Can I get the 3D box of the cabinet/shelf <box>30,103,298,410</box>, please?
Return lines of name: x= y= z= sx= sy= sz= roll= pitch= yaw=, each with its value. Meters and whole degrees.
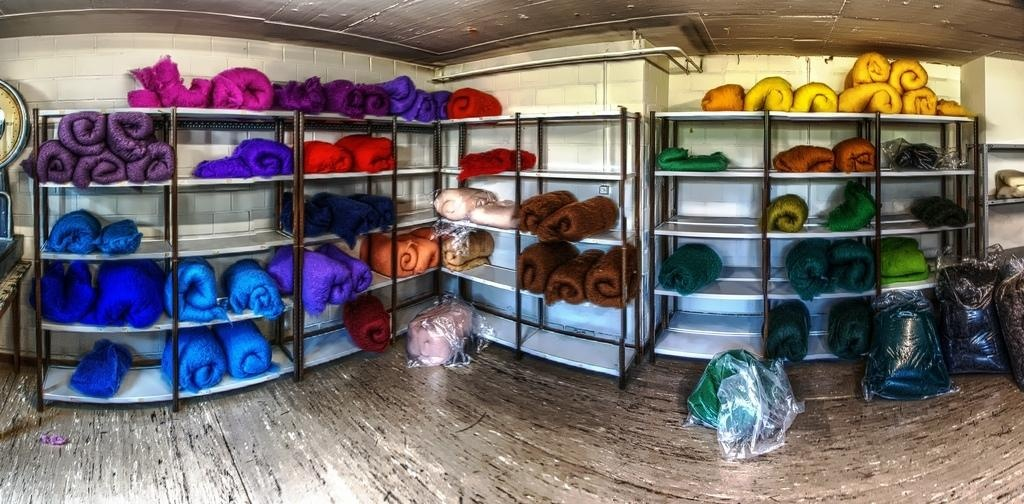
cabinet/shelf: x=-4.008 y=0.058 z=7.152 sx=3.028 sy=3.413 sz=0.879 roll=-1 pitch=7 yaw=-6
